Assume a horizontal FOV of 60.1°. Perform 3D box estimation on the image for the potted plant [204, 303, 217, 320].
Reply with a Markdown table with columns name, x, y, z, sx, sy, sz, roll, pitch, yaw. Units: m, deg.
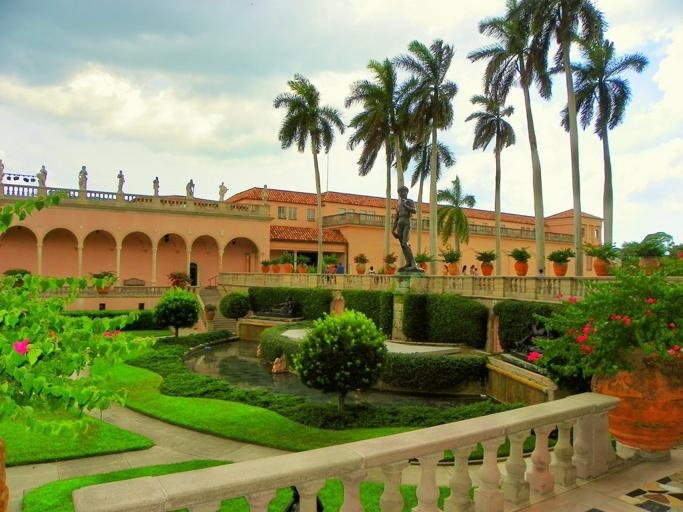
| name | x | y | z | sx | sy | sz | roll | pitch | yaw |
| --- | --- | --- | --- | --- | --- | --- | --- | --- | --- |
| potted plant | -7.108 | 2.959 | 31.856 | 0.660 | 0.869 | 0.822 | -1 | 5 | -16 |
